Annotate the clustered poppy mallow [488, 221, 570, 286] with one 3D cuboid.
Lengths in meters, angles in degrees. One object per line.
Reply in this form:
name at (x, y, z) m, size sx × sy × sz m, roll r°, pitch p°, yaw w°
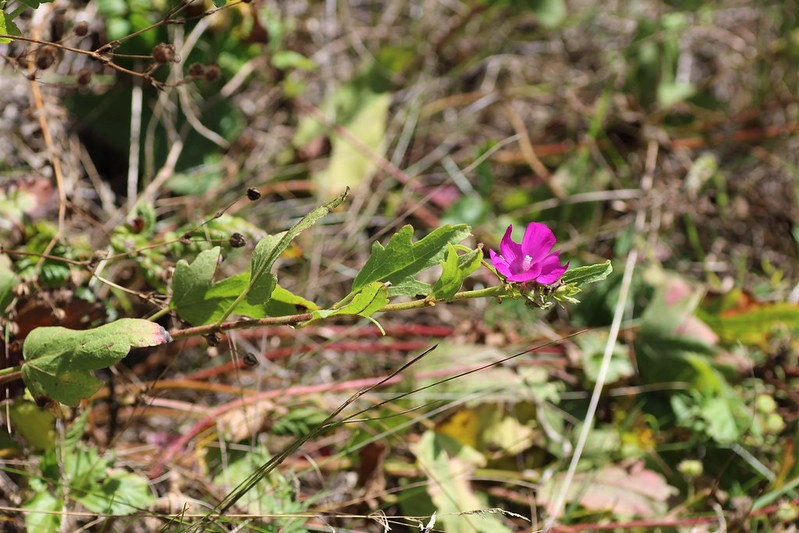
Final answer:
clustered poppy mallow at (0.339, -0.036, 1.779) m, size 0.195 × 0.130 × 0.145 m, roll 18°, pitch 34°, yaw 6°
